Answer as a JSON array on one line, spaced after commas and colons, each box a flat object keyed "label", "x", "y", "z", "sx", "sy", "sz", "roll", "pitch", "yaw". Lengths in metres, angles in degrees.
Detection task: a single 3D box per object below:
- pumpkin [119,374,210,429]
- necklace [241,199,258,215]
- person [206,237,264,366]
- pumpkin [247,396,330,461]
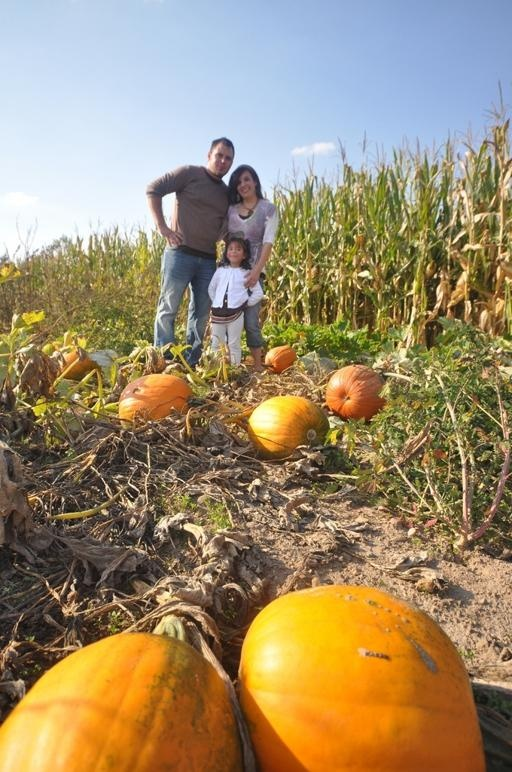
[{"label": "pumpkin", "x": -0.495, "y": 0.026, "z": 3.386, "sx": 0.283, "sy": 0.258, "sz": 0.286, "roll": -12, "pitch": 23, "yaw": 22}, {"label": "necklace", "x": -0.071, "y": -1.601, "z": 5.203, "sx": 0.115, "sy": 0.150, "sz": 0.061, "roll": 2, "pitch": 5, "yaw": 14}, {"label": "person", "x": -0.189, "y": -0.752, "z": 5.066, "sx": 0.481, "sy": 1.134, "sz": 0.733, "roll": 1, "pitch": 9, "yaw": -1}, {"label": "pumpkin", "x": 0.169, "y": 0.171, "z": 3.005, "sx": 0.390, "sy": 0.327, "sz": 0.330, "roll": 4, "pitch": 23, "yaw": 16}]
